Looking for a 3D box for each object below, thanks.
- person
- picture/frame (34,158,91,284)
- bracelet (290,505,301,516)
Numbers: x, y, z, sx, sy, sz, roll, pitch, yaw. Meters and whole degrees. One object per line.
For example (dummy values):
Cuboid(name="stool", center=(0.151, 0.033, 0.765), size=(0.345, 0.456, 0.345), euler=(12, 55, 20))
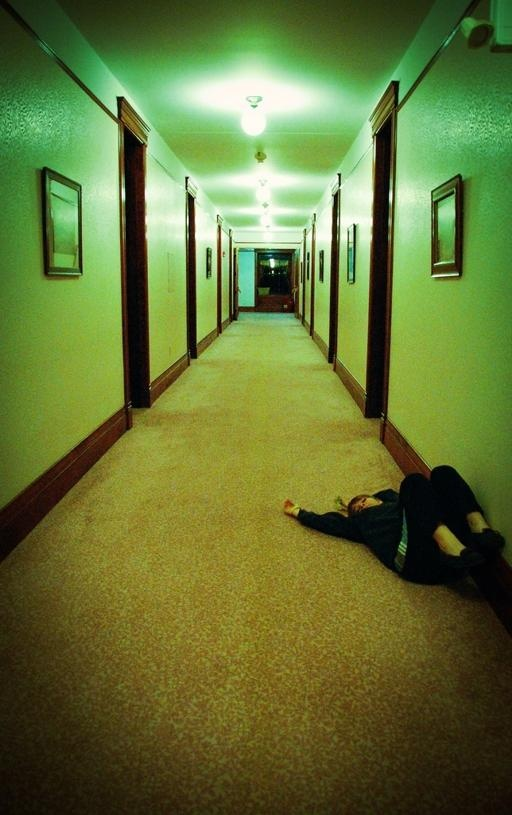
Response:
Cuboid(name="person", center=(0.599, 0.425, 2.278), size=(0.357, 0.438, 0.957), euler=(-4, 10, -25))
Cuboid(name="picture/frame", center=(-1.013, -0.943, 2.985), size=(0.021, 0.530, 0.625), euler=(-6, 19, -36))
Cuboid(name="bracelet", center=(0.190, 0.507, 2.787), size=(0.030, 0.055, 0.083), euler=(0, -7, 3))
